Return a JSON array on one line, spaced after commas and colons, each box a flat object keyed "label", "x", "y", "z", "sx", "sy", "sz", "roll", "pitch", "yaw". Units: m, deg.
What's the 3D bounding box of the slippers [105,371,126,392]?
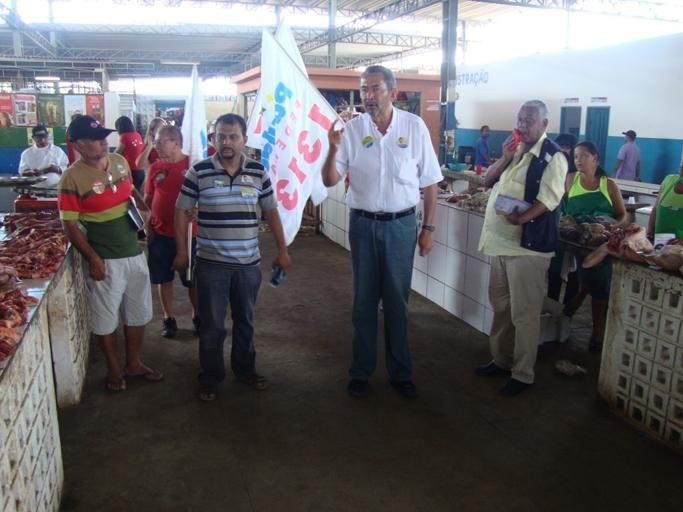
[{"label": "slippers", "x": -1.754, "y": 0.984, "z": 3.765, "sx": 0.222, "sy": 0.164, "sz": 0.078, "roll": 3, "pitch": 1, "yaw": 23}]

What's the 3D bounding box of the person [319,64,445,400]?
[{"label": "person", "x": 0.318, "y": -0.170, "z": 3.603, "sx": 0.753, "sy": 2.406, "sz": 0.643, "roll": 1, "pitch": 16, "yaw": 8}]

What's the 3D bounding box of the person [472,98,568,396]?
[{"label": "person", "x": 1.393, "y": -0.086, "z": 3.727, "sx": 0.577, "sy": 2.156, "sz": 0.743, "roll": -2, "pitch": 16, "yaw": -5}]

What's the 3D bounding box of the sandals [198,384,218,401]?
[{"label": "sandals", "x": -1.017, "y": 1.041, "z": 3.605, "sx": 0.072, "sy": 0.085, "sz": 0.194, "roll": 2, "pitch": -9, "yaw": -4}]

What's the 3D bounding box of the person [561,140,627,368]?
[{"label": "person", "x": 2.337, "y": -0.133, "z": 4.498, "sx": 0.537, "sy": 1.814, "sz": 0.862, "roll": 9, "pitch": 19, "yaw": 30}]

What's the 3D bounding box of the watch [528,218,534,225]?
[{"label": "watch", "x": 1.414, "y": -0.262, "z": 3.553, "sx": 0.053, "sy": 0.031, "sz": 0.008, "roll": 0, "pitch": 16, "yaw": 3}]

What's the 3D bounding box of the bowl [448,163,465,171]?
[{"label": "bowl", "x": 2.342, "y": -1.801, "z": 9.570, "sx": 0.256, "sy": 0.115, "sz": 0.260, "roll": 0, "pitch": 10, "yaw": 0}]

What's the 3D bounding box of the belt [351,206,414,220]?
[{"label": "belt", "x": 0.306, "y": -0.320, "z": 3.561, "sx": 0.475, "sy": 0.079, "sz": 0.137, "roll": 1, "pitch": 18, "yaw": 5}]

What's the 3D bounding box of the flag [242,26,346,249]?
[{"label": "flag", "x": -0.478, "y": -1.287, "z": 4.612, "sx": 1.064, "sy": 2.365, "sz": 0.182, "roll": -6, "pitch": -28, "yaw": -7}]

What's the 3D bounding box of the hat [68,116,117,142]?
[{"label": "hat", "x": -1.803, "y": -0.889, "z": 3.421, "sx": 0.295, "sy": 0.172, "sz": 0.199, "roll": -11, "pitch": 22, "yaw": -5}]

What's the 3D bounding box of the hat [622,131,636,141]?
[{"label": "hat", "x": 6.285, "y": -2.630, "z": 10.372, "sx": 0.190, "sy": 0.221, "sz": 0.395, "roll": 7, "pitch": 19, "yaw": 25}]
